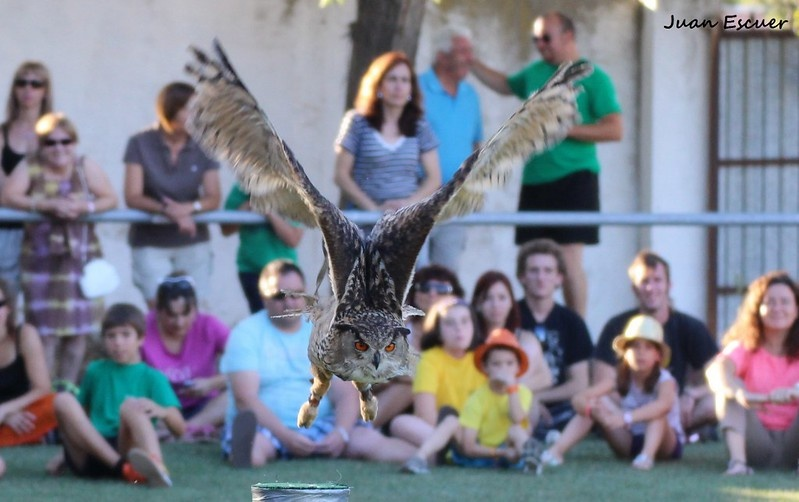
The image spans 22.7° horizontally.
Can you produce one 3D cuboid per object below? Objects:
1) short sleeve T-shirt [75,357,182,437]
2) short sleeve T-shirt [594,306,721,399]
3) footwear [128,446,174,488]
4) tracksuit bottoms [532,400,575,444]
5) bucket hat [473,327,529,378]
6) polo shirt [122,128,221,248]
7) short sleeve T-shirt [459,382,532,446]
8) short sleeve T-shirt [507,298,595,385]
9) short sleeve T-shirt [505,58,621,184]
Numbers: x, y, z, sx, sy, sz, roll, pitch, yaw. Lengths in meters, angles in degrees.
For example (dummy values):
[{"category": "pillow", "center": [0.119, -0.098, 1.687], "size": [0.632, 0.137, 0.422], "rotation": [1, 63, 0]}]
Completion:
[{"category": "short sleeve T-shirt", "center": [-2.437, 1.309, 17.678], "size": [1.043, 0.708, 0.529], "rotation": [6, 4, 19]}, {"category": "short sleeve T-shirt", "center": [2.533, 0.965, 18.138], "size": [0.741, 0.465, 1.011], "rotation": [2, -16, 23]}, {"category": "footwear", "center": [-2.161, 1.848, 17.128], "size": [0.210, 0.459, 0.200], "rotation": [-48, -13, 15]}, {"category": "tracksuit bottoms", "center": [1.381, 1.488, 17.641], "size": [0.360, 0.338, 0.136], "rotation": [10, -31, 15]}, {"category": "bucket hat", "center": [0.907, 0.853, 17.761], "size": [0.444, 0.224, 0.440], "rotation": [33, -49, -21]}, {"category": "polo shirt", "center": [-2.105, -0.565, 18.144], "size": [1.137, 1.207, 0.677], "rotation": [2, -4, -19]}, {"category": "short sleeve T-shirt", "center": [0.872, 1.446, 17.548], "size": [0.465, 0.411, 0.254], "rotation": [13, -13, 3]}, {"category": "short sleeve T-shirt", "center": [1.475, 0.808, 17.913], "size": [0.751, 0.661, 0.241], "rotation": [0, -13, -15]}, {"category": "short sleeve T-shirt", "center": [1.459, -1.171, 18.022], "size": [1.420, 1.147, 0.602], "rotation": [4, 0, 27]}]
